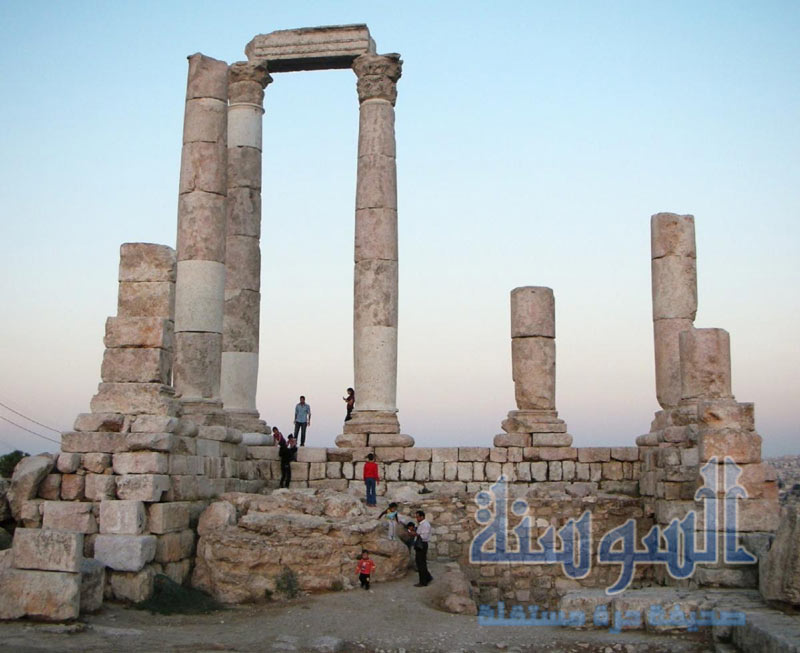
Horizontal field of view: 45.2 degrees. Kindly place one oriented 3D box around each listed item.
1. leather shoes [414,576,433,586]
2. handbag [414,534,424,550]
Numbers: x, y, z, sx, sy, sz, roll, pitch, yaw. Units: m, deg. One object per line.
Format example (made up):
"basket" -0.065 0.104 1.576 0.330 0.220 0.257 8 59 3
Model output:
"leather shoes" 0.352 3.783 14.349 0.258 0.137 0.081 3 6 10
"handbag" 0.290 3.248 14.524 0.174 0.214 0.122 4 24 7
